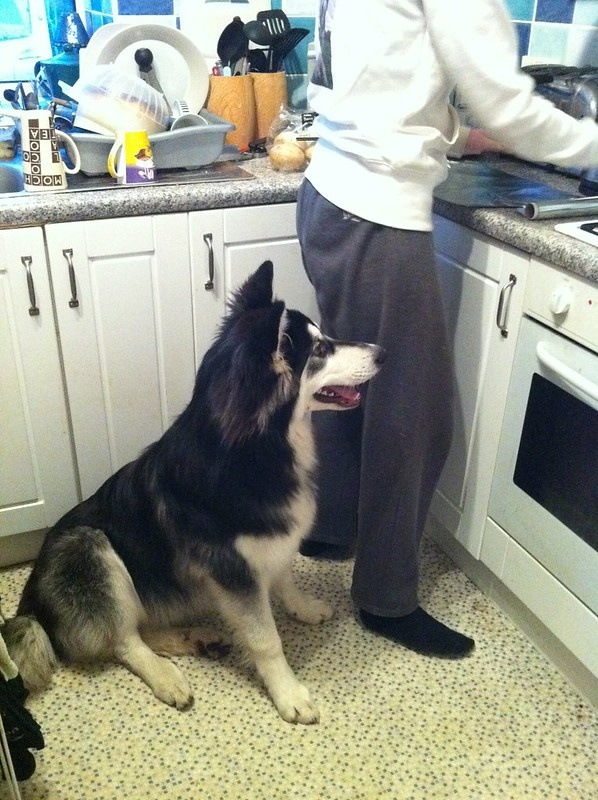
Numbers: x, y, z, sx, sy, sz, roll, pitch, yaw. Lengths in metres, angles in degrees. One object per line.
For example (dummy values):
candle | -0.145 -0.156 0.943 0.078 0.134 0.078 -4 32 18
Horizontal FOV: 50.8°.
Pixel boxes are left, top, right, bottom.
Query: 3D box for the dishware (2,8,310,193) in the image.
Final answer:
dishware | -0.362 -0.818 1.718 0.799 0.585 0.243 -12 17 -22
